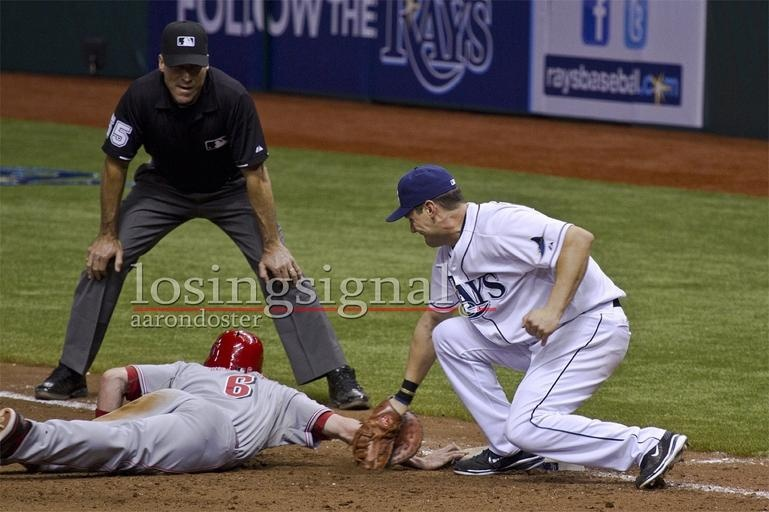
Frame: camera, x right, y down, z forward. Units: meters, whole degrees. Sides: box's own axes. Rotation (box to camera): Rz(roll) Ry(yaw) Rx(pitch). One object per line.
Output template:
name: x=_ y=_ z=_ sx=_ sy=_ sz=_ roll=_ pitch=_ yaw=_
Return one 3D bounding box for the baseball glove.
baseball glove: x=0.019 y=1.324 z=10.989 sx=0.482 sy=0.568 sz=0.446 roll=0 pitch=0 yaw=-10
